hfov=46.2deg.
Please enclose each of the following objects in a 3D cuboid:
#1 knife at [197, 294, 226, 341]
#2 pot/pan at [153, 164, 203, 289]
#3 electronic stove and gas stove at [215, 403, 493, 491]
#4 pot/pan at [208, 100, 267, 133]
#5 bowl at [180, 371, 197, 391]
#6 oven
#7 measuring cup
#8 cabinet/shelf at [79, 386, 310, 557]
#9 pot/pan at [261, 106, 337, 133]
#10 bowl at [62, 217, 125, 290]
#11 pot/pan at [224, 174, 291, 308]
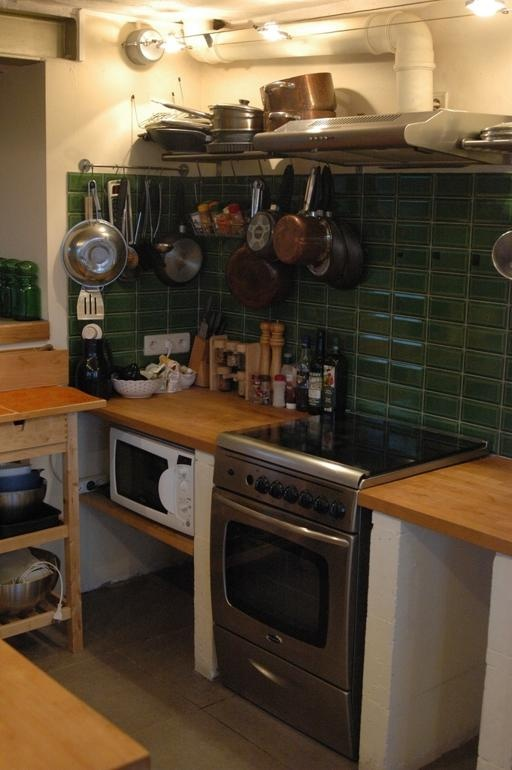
[{"bbox_3d":[-0.225,-0.333,2.982,0.113,0.215,0.118,7,11,42],"label":"knife"},{"bbox_3d":[-0.384,-0.752,2.912,0.184,0.579,0.155,-10,20,-40],"label":"pot/pan"},{"bbox_3d":[0.313,0.141,2.057,0.745,0.142,0.611,-7,12,-44],"label":"electronic stove and gas stove"},{"bbox_3d":[-0.065,-1.020,2.297,0.145,0.079,0.171,-1,21,-14],"label":"pot/pan"},{"bbox_3d":[-0.320,-0.017,2.876,0.081,0.058,0.073,0,9,3],"label":"bowl"},{"bbox_3d":[0.258,0.723,2.106,0.560,0.716,0.638,-9,16,-41],"label":"oven"},{"bbox_3d":[0.170,-0.641,2.229,0.185,0.377,0.170,4,8,-1],"label":"measuring cup"},{"bbox_3d":[-0.299,0.287,2.565,1.025,0.649,0.766,15,19,39],"label":"cabinet/shelf"},{"bbox_3d":[0.145,-0.950,2.137,0.229,0.075,0.200,-6,21,-13],"label":"pot/pan"},{"bbox_3d":[-0.684,-0.565,2.587,0.253,0.294,0.058,-4,13,-27],"label":"bowl"},{"bbox_3d":[0.023,-0.583,2.555,0.077,0.535,0.300,-13,28,-39],"label":"pot/pan"}]
